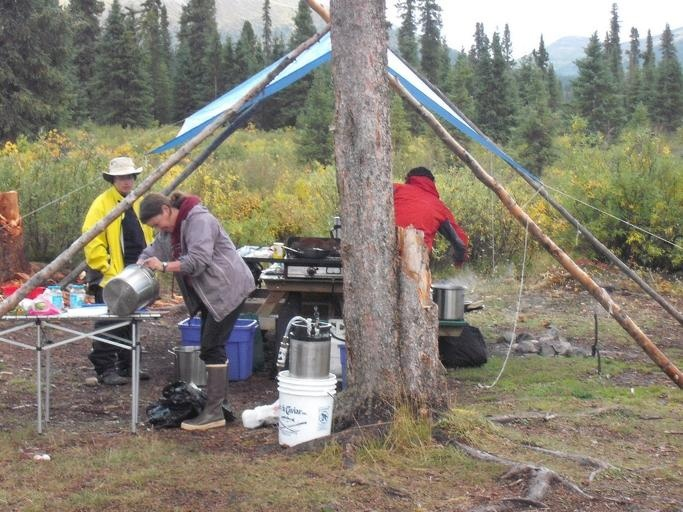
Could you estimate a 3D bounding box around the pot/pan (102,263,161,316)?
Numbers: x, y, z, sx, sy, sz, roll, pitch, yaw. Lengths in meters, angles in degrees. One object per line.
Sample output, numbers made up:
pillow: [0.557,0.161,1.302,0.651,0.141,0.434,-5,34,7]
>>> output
pot/pan: [-3.246,0.512,16.054,0.649,0.853,0.687,9,13,32]

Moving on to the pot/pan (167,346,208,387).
pot/pan: [-2.601,1.840,17.503,0.449,0.584,0.643,3,4,36]

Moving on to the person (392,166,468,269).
person: [1.530,-0.685,17.733,1.262,1.682,1.104,0,3,7]

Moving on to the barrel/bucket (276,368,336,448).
barrel/bucket: [-0.589,2.300,16.031,0.785,1.079,0.985,2,9,-10]

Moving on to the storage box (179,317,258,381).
storage box: [-2.111,1.544,17.817,1.157,1.227,1.211,1,1,2]

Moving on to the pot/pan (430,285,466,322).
pot/pan: [1.920,0.762,18.220,0.509,0.606,0.591,3,10,16]
